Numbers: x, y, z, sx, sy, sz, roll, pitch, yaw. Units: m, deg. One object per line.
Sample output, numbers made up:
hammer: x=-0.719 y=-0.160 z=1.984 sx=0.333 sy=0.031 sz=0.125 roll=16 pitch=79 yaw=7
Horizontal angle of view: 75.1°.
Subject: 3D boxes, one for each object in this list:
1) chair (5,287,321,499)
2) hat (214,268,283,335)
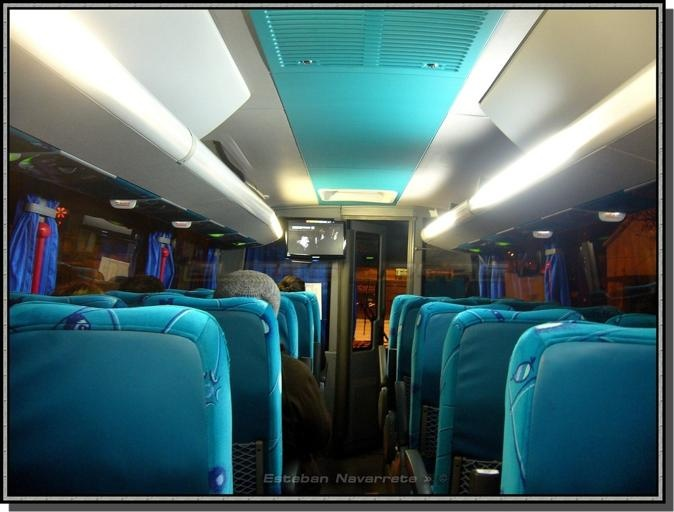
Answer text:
chair: x=-0.575 y=0.465 z=1.425 sx=0.877 sy=0.796 sz=0.499 roll=1 pitch=5 yaw=2
hat: x=-0.411 y=0.206 z=2.061 sx=0.248 sy=0.185 sz=0.242 roll=11 pitch=-10 yaw=-44
